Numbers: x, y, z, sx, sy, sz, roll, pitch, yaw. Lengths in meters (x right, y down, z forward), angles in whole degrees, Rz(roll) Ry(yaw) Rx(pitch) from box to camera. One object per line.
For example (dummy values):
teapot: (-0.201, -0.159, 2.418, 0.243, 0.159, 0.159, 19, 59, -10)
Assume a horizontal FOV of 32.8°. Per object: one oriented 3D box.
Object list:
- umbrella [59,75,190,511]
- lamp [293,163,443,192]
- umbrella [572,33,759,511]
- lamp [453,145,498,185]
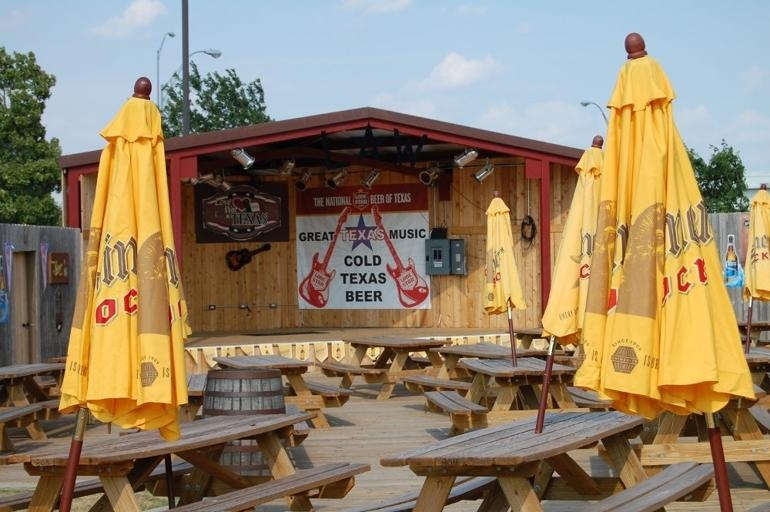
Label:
umbrella: (-2.996, 0.185, 14.548, 1.428, 4.248, 1.246, -5, 13, -9)
lamp: (-0.388, -1.549, 25.767, 2.930, 0.589, 0.995, 4, 13, 25)
umbrella: (2.984, 0.026, 13.999, 1.639, 4.770, 1.223, 3, 15, 25)
lamp: (1.655, -1.707, 24.206, 0.651, 0.331, 0.783, -28, 46, -12)
